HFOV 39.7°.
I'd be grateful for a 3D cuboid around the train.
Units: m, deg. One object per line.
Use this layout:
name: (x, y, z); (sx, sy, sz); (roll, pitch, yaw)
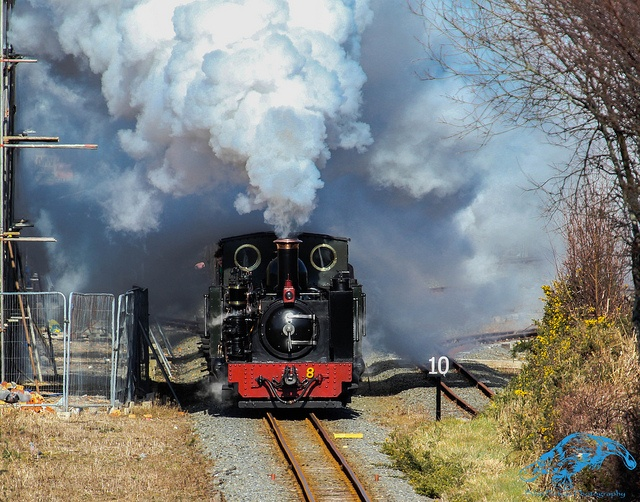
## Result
train: (-0.927, 1.720, 21.925); (2.917, 2.898, 4.875); (0, -4, -3)
